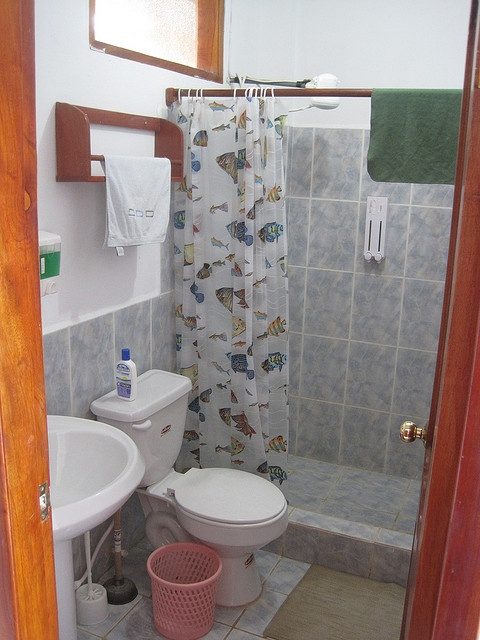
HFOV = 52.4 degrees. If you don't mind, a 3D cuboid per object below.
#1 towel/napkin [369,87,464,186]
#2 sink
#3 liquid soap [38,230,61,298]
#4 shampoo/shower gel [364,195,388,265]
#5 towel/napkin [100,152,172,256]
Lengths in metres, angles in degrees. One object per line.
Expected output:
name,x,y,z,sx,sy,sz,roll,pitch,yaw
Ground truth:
towel/napkin,0.723,-0.776,2.058,0.356,0.389,0.125,3,12,17
sink,-0.437,0.464,1.484,0.269,0.184,0.567,-7,15,-24
liquid soap,-0.614,-0.175,1.573,0.071,0.221,0.292,-5,14,-20
shampoo/shower gel,0.742,-0.490,2.668,0.116,0.353,0.046,3,12,17
towel/napkin,-0.387,-0.442,1.877,0.045,0.353,0.373,5,14,27
